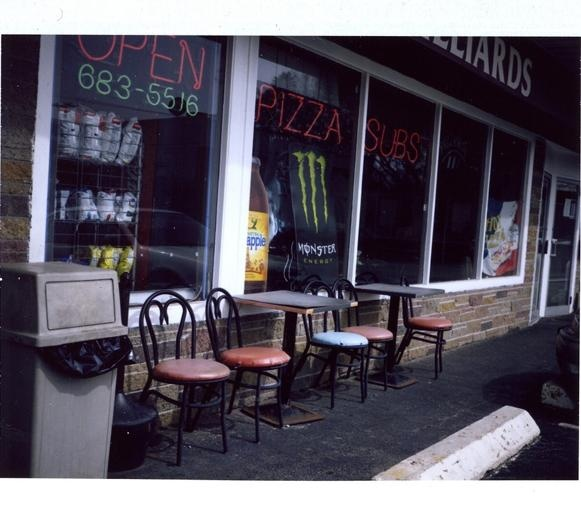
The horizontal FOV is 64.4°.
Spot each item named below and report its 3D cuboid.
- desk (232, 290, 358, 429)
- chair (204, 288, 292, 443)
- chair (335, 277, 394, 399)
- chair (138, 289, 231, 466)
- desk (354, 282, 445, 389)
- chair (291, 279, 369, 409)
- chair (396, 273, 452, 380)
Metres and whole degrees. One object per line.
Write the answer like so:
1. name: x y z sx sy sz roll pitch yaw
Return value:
1. desk: -0.024 0.714 3.861 0.857 1.144 0.908 9 12 43
2. chair: -0.313 0.720 3.312 0.530 1.032 0.467 -1 1 25
3. chair: 0.730 0.750 4.488 0.543 1.092 0.454 -1 3 -27
4. chair: -0.690 0.745 3.075 0.598 1.021 0.936 0 5 -19
5. desk: 1.017 0.800 4.911 0.959 1.298 0.833 5 5 37
6. chair: 0.348 0.726 3.995 0.586 1.053 0.536 0 -2 29
7. chair: 1.436 0.770 5.041 0.536 1.071 0.463 4 7 27
